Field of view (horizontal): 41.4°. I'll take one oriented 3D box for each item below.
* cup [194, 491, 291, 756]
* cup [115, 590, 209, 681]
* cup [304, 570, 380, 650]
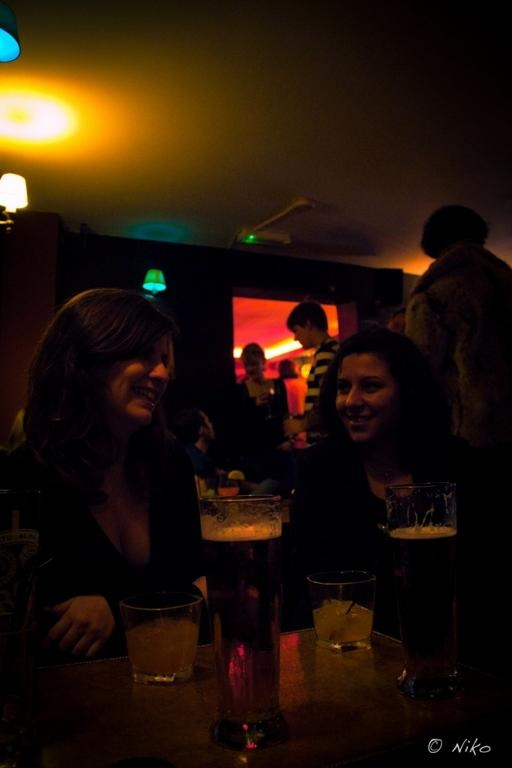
[{"bbox_3d":[-0.016,0.269,0.791,0.099,0.265,0.096,0,-3,0],"label":"cup"},{"bbox_3d":[-0.144,0.359,0.962,0.134,0.107,0.121,-1,-11,-2],"label":"cup"},{"bbox_3d":[0.139,0.373,1.099,0.125,0.096,0.113,-9,-18,32],"label":"cup"}]
